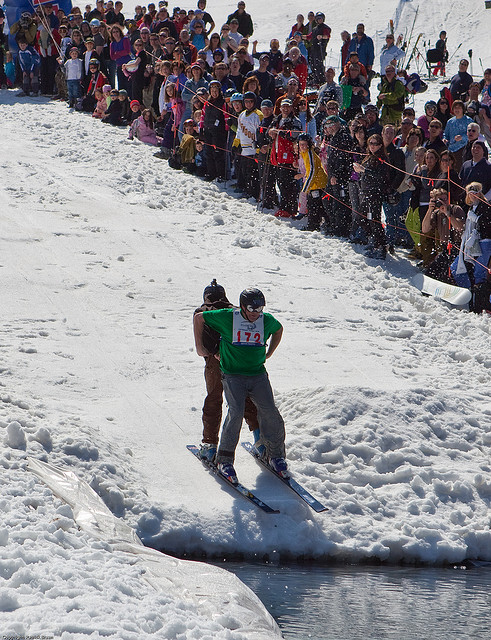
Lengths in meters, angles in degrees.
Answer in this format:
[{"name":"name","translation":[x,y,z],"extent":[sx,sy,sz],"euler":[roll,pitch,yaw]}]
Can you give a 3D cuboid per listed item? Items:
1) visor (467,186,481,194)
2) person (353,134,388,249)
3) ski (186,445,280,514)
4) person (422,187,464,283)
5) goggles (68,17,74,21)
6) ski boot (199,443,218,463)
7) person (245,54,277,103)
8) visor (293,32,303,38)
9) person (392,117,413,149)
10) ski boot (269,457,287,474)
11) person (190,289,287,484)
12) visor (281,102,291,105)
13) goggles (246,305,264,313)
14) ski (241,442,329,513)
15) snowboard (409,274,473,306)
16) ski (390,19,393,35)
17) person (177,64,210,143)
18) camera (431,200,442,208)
[{"name":"visor","translation":[2.924,-1.667,17.225],"extent":[0.210,0.093,0.089],"euler":[11,8,37]},{"name":"person","translation":[1.761,-1.824,18.986],"extent":[0.518,1.576,0.603],"euler":[6,6,5]},{"name":"ski","translation":[-0.144,1.552,12.845],"extent":[0.111,0.063,1.036],"euler":[-15,36,-30]},{"name":"person","translation":[2.623,-1.153,18.284],"extent":[0.372,1.241,0.844],"euler":[3,6,-23]},{"name":"goggles","translation":[-3.661,-6.217,27.724],"extent":[0.076,0.075,0.279],"euler":[3,7,-31]},{"name":"ski boot","translation":[-0.381,1.288,13.144],"extent":[0.084,0.136,0.272],"euler":[-1,24,-22]},{"name":"person","translation":[0.286,-4.106,22.595],"extent":[0.478,0.802,0.985],"euler":[7,6,12]},{"name":"visor","translation":[1.040,-5.826,27.423],"extent":[0.224,0.156,0.322],"euler":[1,11,0]},{"name":"person","translation":[2.390,-2.861,20.428],"extent":[0.270,0.470,0.777],"euler":[6,6,6]},{"name":"ski boot","translation":[0.300,1.402,12.990],"extent":[0.071,0.104,0.221],"euler":[-7,20,-28]},{"name":"person","translation":[-0.049,0.623,12.779],"extent":[1.011,1.851,0.381],"euler":[5,6,-3]},{"name":"visor","translation":[0.584,-3.223,19.982],"extent":[0.140,0.038,0.081],"euler":[7,6,3]},{"name":"goggles","translation":[0.090,-0.108,12.605],"extent":[0.102,0.076,0.234],"euler":[10,7,31]},{"name":"ski","translation":[0.366,1.555,13.002],"extent":[0.125,0.073,1.288],"euler":[-4,25,-26]},{"name":"snowboard","translation":[2.615,-0.417,18.068],"extent":[0.120,0.363,1.129],"euler":[32,-4,-36]},{"name":"ski","translation":[4.124,-8.305,38.152],"extent":[0.092,0.287,1.024],"euler":[6,6,6]},{"name":"person","translation":[-0.918,-3.649,22.699],"extent":[0.447,1.314,0.998],"euler":[4,6,-10]},{"name":"camera","translation":[2.585,-1.570,18.205],"extent":[0.106,0.083,0.130],"euler":[5,6,-10]}]
